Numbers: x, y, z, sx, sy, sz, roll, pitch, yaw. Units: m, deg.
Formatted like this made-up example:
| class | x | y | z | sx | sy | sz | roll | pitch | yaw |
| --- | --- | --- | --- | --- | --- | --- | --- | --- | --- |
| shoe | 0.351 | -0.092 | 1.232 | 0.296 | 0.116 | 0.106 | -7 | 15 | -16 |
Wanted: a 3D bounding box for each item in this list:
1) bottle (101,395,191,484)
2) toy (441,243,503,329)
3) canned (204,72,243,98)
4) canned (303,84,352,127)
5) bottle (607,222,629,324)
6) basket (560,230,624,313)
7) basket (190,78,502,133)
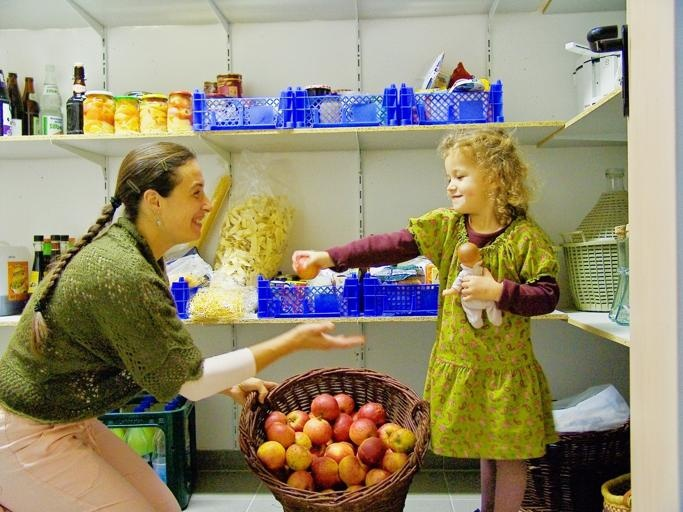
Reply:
| class | x | y | z | sx | sy | sz | roll | pitch | yaw |
| --- | --- | --- | --- | --- | --- | --- | --- | --- | --- |
| bottle | -0.821 | 0.846 | 2.695 | 0.401 | 0.393 | 0.395 | -1 | -1 | 3 |
| toy | 0.463 | 0.104 | 2.029 | 0.165 | 0.297 | 0.111 | 0 | 5 | 29 |
| canned | -0.522 | -0.758 | 2.639 | 0.159 | 0.113 | 0.124 | 1 | 3 | 11 |
| canned | -0.058 | -0.639 | 2.512 | 0.172 | 0.200 | 0.171 | -1 | 4 | 1 |
| bottle | 1.092 | 0.068 | 2.306 | 0.067 | 0.381 | 0.280 | 0 | 5 | 24 |
| basket | 1.074 | 0.068 | 2.619 | 0.272 | 0.301 | 0.279 | -4 | -8 | 6 |
| basket | 0.020 | -0.625 | 2.495 | 1.303 | 0.186 | 0.082 | -2 | 5 | 3 |
